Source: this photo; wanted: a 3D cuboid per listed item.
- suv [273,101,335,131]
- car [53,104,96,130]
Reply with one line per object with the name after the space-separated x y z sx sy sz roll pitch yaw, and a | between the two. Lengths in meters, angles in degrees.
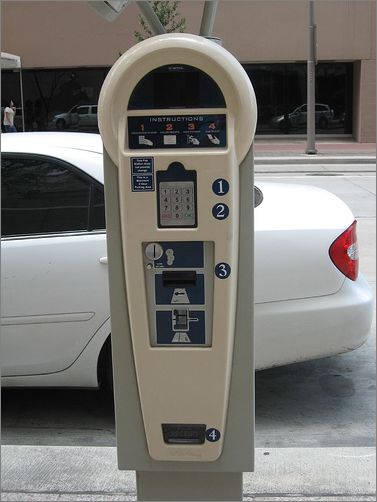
5.512 -6.650 24.859 2.708 1.071 1.207 1 11 3 | suv
-5.485 -6.486 24.658 2.229 0.902 1.040 2 17 1 | car
